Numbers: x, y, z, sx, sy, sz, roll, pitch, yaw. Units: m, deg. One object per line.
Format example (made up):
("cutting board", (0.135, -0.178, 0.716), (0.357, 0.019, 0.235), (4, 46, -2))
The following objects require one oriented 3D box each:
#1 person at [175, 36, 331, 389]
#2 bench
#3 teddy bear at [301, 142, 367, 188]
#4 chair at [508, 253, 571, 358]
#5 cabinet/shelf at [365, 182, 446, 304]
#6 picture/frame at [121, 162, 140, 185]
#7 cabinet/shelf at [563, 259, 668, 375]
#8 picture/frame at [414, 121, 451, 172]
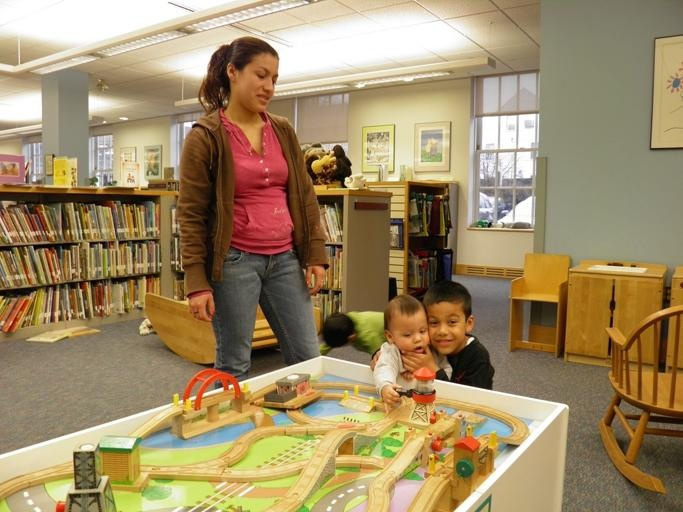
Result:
("person", (-0.355, -0.200, 1.947), (0.602, 1.328, 0.351), (-5, 10, -19))
("bench", (-1.086, 0.561, 3.945), (0.745, 0.485, 0.991), (1, 4, 44))
("teddy bear", (-0.148, -0.879, 4.793), (0.489, 0.314, 0.634), (-5, 36, -6))
("chair", (1.760, 0.415, 4.219), (0.463, 0.851, 0.574), (3, 10, 25))
("cabinet/shelf", (0.702, -0.177, 5.386), (0.615, 1.394, 1.562), (1, 4, 23))
("picture/frame", (-2.490, -0.971, 5.595), (0.194, 0.302, 0.486), (-6, 10, -23))
("cabinet/shelf", (2.152, 0.450, 3.894), (0.705, 0.789, 0.445), (2, 3, 12))
("picture/frame", (1.778, -2.106, 9.227), (0.703, 0.942, 0.121), (4, 11, 32))
